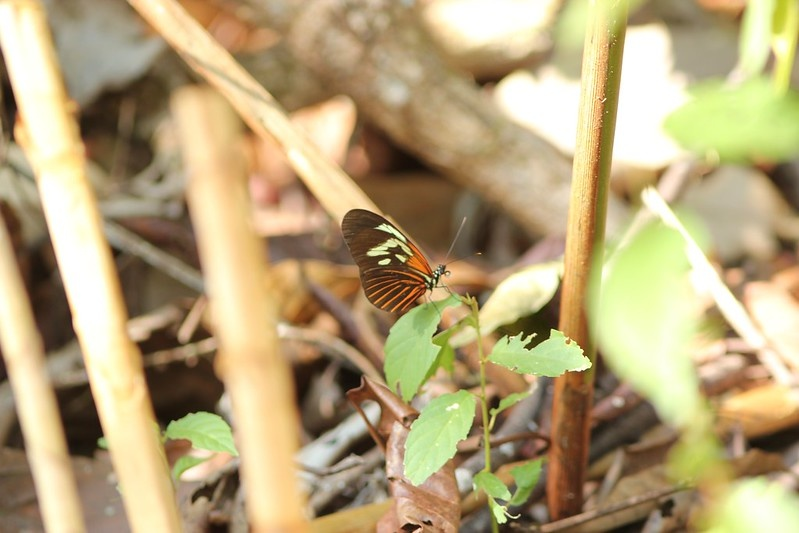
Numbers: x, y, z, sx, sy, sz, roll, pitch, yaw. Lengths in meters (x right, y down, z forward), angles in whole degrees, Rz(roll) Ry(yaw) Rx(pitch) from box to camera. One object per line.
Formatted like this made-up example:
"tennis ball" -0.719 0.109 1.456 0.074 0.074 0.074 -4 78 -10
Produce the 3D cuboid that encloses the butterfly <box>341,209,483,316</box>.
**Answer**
"butterfly" 0.014 -0.011 1.900 0.245 0.179 0.267 -11 -37 12
